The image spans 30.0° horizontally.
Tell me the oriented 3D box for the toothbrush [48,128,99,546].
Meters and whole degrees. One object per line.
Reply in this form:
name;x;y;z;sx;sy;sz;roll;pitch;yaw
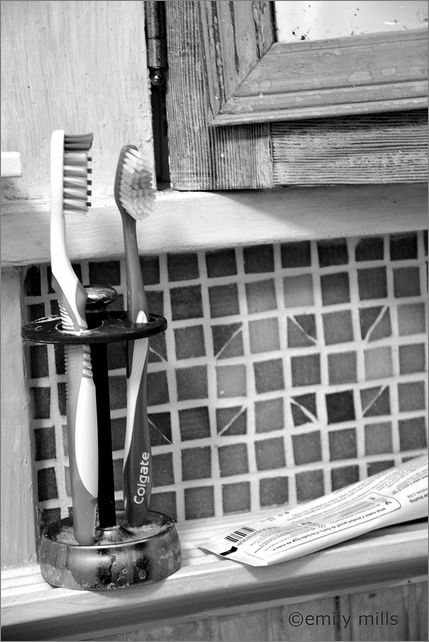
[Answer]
toothbrush;-0.101;0.017;0.574;0.035;0.280;0.024;-3;6;6

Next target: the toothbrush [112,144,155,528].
toothbrush;-0.066;0.011;0.599;0.031;0.278;0.023;-4;2;-29
